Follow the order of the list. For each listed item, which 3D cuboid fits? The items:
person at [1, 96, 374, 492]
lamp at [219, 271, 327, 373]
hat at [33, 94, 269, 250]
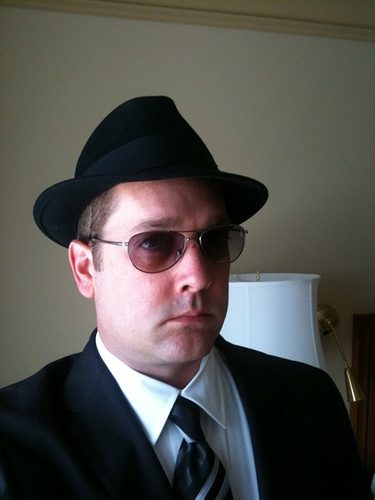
[{"bbox_3d":[0.022,0.112,1.145,0.829,0.913,0.421,2,1,-19],"label":"person"},{"bbox_3d":[0.257,0.211,1.753,0.383,0.355,0.355,-1,5,1],"label":"lamp"},{"bbox_3d":[-0.063,-0.222,1.225,0.601,0.289,0.609,-8,9,-20],"label":"hat"}]
